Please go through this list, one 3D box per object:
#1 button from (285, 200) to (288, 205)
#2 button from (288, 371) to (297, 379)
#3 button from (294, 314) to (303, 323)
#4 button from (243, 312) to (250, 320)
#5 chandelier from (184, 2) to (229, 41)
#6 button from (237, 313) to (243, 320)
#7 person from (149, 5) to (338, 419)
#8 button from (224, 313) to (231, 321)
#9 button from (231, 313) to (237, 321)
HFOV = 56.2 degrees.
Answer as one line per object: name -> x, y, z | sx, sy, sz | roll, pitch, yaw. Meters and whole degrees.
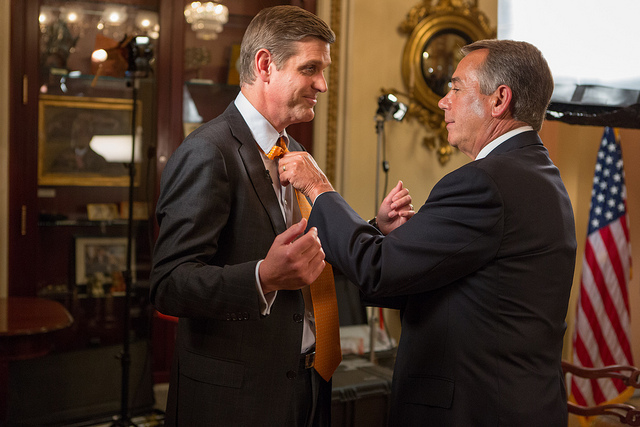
button -> -0.153, -0.049, 2.665 | 0.020, 0.021, 0.005 | 1, -5, -39
button -> -0.120, 0.676, 2.525 | 0.032, 0.033, 0.008 | 5, 2, -8
button -> -0.091, 0.443, 2.539 | 0.035, 0.034, 0.005 | 4, -3, -13
button -> -0.297, 0.407, 2.400 | 0.023, 0.025, 0.006 | 0, 7, 13
chandelier -> -0.896, -1.542, 4.653 | 0.296, 0.234, 0.304 | 0, -4, -7
button -> -0.323, 0.410, 2.403 | 0.017, 0.024, 0.007 | -7, 9, 0
person -> -0.284, -0.009, 2.639 | 0.737, 1.850, 0.590 | 2, -3, 14
button -> -0.372, 0.412, 2.410 | 0.026, 0.038, 0.009 | 0, 12, -3
button -> -0.346, 0.410, 2.407 | 0.023, 0.024, 0.014 | 4, -3, -8
